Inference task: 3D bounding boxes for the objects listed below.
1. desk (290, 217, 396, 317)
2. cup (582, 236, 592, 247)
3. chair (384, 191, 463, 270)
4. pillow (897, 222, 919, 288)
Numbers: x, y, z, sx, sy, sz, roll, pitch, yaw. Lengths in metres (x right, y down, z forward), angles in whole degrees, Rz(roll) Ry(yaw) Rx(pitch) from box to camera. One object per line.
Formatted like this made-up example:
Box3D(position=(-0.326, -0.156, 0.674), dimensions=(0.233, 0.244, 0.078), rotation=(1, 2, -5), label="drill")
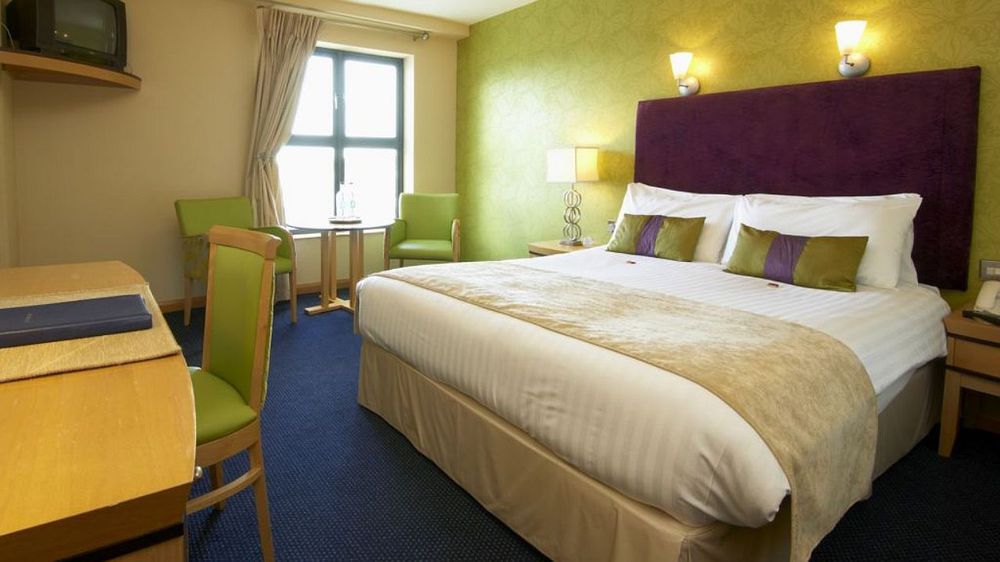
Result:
Box3D(position=(-1.780, -0.328, 6.710), dimensions=(1.088, 0.967, 1.080), rotation=(-12, 23, -40), label="desk")
Box3D(position=(0.878, -0.384, 6.212), dimensions=(0.065, 0.078, 0.193), rotation=(-10, -13, 23), label="cup")
Box3D(position=(-0.883, -0.601, 7.040), dimensions=(0.825, 1.095, 0.906), rotation=(1, 4, 1), label="chair")
Box3D(position=(2.985, -0.192, 4.456), dimensions=(0.124, 0.420, 0.308), rotation=(11, 14, 34), label="pillow")
